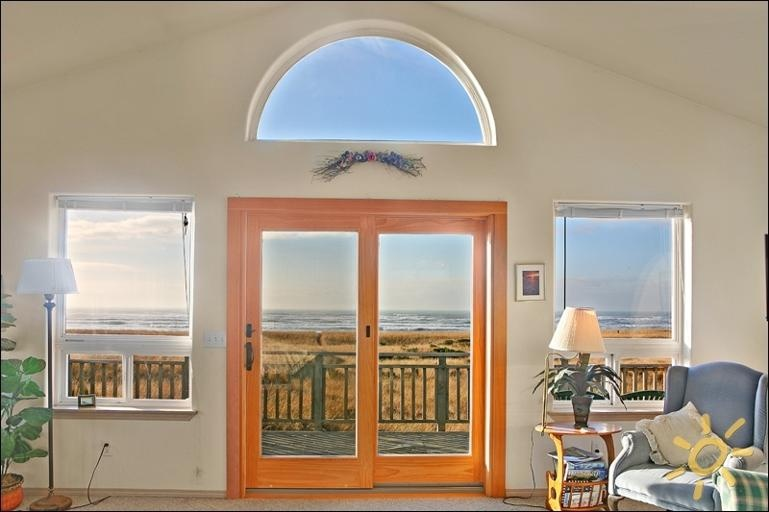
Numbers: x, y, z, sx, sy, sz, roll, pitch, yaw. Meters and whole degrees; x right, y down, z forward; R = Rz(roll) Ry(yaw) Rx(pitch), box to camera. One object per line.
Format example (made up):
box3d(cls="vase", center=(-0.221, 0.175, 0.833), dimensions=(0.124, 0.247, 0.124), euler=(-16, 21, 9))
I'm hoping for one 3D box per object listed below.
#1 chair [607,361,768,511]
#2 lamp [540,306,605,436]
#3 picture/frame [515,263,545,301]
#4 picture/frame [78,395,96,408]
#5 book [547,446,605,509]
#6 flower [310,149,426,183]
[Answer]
box3d(cls="chair", center=(2.661, 1.629, 8.526), dimensions=(1.239, 1.586, 1.418), euler=(-8, -16, 42))
box3d(cls="lamp", center=(1.703, 1.022, 8.473), dimensions=(0.575, 1.118, 0.459), euler=(-3, -12, 9))
box3d(cls="picture/frame", center=(1.359, 0.245, 8.717), dimensions=(0.344, 0.412, 0.028), euler=(1, -3, -4))
box3d(cls="picture/frame", center=(-2.772, 1.349, 8.666), dimensions=(0.179, 0.156, 0.095), euler=(1, -1, -14))
box3d(cls="book", center=(1.747, 1.966, 8.515), dimensions=(0.576, 0.555, 0.491), euler=(0, -5, -7))
box3d(cls="flower", center=(-0.153, -0.861, 8.812), dimensions=(1.158, 0.341, 0.350), euler=(-4, -30, 0))
